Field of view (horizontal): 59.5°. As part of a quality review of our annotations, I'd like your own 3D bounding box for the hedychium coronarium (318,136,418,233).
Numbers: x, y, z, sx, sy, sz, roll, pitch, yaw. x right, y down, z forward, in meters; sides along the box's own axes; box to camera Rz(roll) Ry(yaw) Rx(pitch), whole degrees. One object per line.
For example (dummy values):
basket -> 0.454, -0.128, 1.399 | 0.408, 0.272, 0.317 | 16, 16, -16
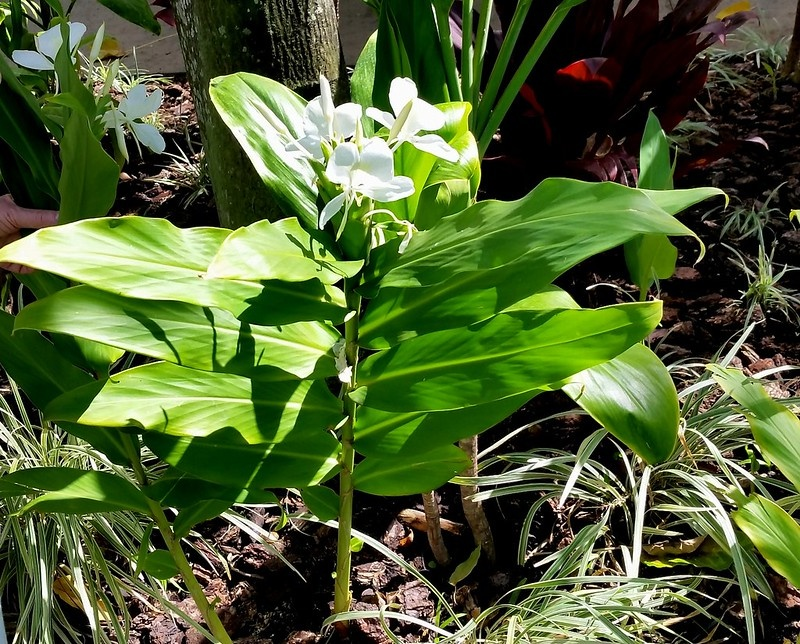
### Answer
hedychium coronarium -> -0.051, -0.180, 0.932 | 0.129, 0.124, 0.096 | -7, 43, -5
